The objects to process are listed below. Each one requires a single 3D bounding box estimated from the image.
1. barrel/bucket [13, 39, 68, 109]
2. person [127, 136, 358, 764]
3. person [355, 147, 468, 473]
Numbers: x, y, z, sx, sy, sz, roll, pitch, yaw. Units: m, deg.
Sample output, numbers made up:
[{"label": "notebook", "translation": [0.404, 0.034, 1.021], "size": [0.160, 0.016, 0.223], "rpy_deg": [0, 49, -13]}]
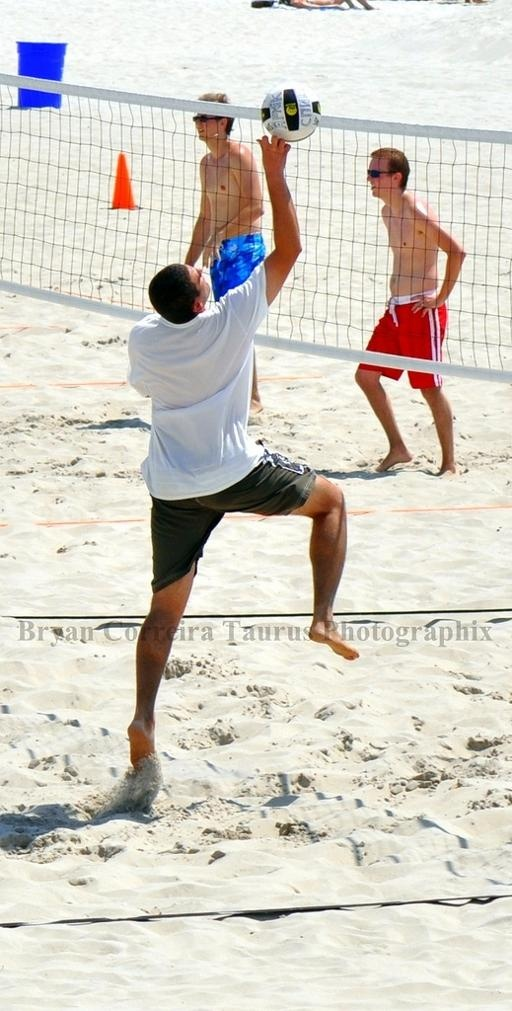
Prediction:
[{"label": "barrel/bucket", "translation": [-2.648, -5.313, 14.910], "size": [0.560, 0.851, 1.008], "rpy_deg": [-1, 15, -10]}, {"label": "person", "translation": [-0.087, -0.150, 3.253], "size": [0.540, 1.542, 0.546], "rpy_deg": [-5, 3, 12]}, {"label": "person", "translation": [0.776, -0.950, 5.893], "size": [0.591, 1.595, 0.525], "rpy_deg": [-2, 5, -26]}]
